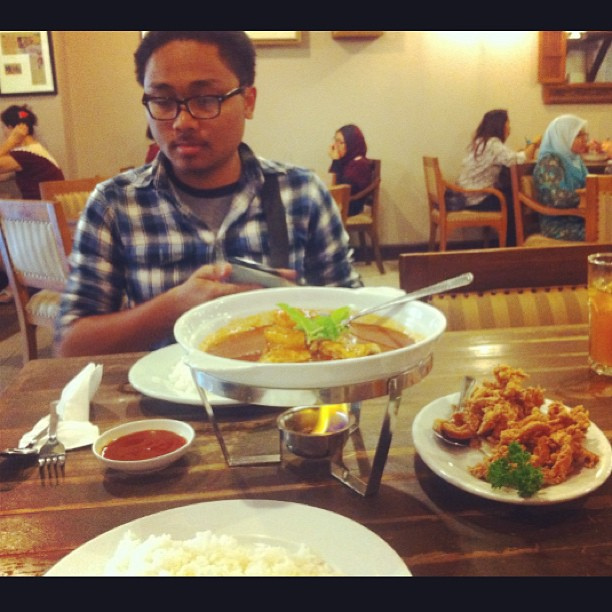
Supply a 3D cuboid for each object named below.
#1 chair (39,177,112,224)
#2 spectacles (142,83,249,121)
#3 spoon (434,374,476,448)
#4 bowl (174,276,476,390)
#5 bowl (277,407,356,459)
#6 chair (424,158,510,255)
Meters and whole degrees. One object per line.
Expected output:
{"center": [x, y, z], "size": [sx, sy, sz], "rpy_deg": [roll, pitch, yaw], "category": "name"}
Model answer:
{"center": [-0.546, -0.253, 1.478], "size": [0.119, 0.154, 0.105], "rpy_deg": [16, 28, 23], "category": "chair"}
{"center": [-0.218, -0.386, 1.175], "size": [0.196, 0.065, 0.060], "rpy_deg": [-3, 17, -4], "category": "spectacles"}
{"center": [0.208, 0.140, 0.853], "size": [0.044, 0.015, 0.113], "rpy_deg": [16, 45, 18], "category": "spoon"}
{"center": [0.023, 0.037, 0.790], "size": [0.363, 0.053, 0.285], "rpy_deg": [-1, 18, 18], "category": "bowl"}
{"center": [0.012, 0.159, 0.817], "size": [0.088, 0.026, 0.077], "rpy_deg": [-6, 16, -24], "category": "bowl"}
{"center": [0.381, -0.226, 1.481], "size": [0.201, 0.188, 0.151], "rpy_deg": [0, 11, -6], "category": "chair"}
